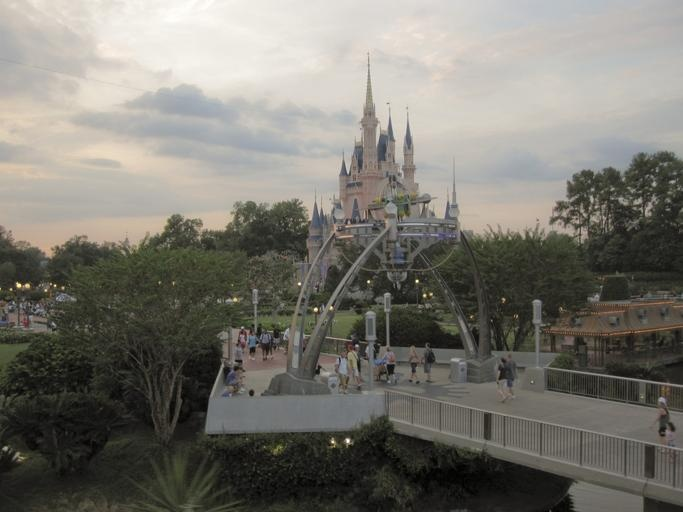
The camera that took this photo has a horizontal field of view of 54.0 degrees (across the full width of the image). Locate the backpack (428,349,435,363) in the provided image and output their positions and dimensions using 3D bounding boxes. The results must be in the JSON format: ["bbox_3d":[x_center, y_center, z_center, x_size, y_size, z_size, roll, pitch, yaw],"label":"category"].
[{"bbox_3d":[4.622,5.242,34.895,0.288,0.690,0.753,0,-3,15],"label":"backpack"}]

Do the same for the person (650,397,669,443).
[{"bbox_3d":[12.098,6.154,25.279,0.436,1.570,2.117,0,-3,23],"label":"person"}]

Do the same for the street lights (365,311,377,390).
[{"bbox_3d":[1.417,4.423,31.463,0.726,3.582,0.731,0,-1,-16],"label":"street lights"}]

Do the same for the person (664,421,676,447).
[{"bbox_3d":[11.872,6.452,24.238,0.295,0.775,0.801,0,-3,21],"label":"person"}]

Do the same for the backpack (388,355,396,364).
[{"bbox_3d":[2.571,5.412,35.009,0.403,0.220,0.550,3,11,-5],"label":"backpack"}]
